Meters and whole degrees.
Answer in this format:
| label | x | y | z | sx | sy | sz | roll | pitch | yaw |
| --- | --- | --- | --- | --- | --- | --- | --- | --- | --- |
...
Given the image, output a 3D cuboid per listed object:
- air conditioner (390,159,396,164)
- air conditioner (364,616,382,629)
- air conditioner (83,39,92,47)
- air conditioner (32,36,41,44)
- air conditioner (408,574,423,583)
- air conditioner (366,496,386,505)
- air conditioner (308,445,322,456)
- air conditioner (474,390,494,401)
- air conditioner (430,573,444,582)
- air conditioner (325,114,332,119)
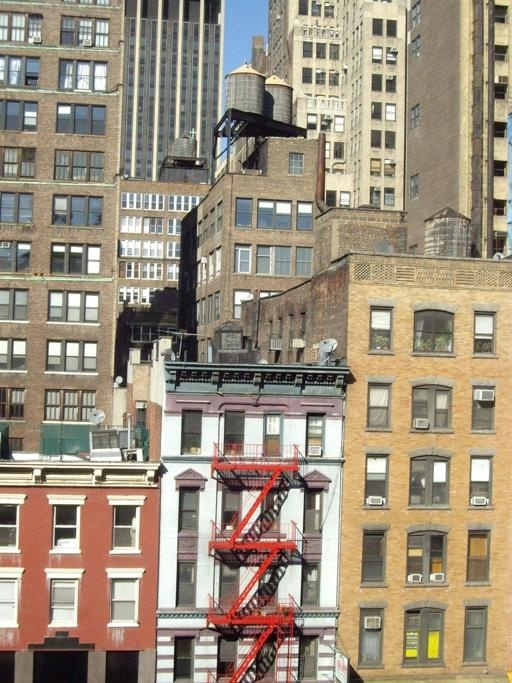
| label | x | y | z | sx | sy | sz | roll | pitch | yaw |
| --- | --- | --- | --- | --- | --- | --- | --- | --- | --- |
| air conditioner | 11.939 | -15.796 | 193.238 | 0.427 | 0.454 | 0.747 | -1 | -5 | 25 |
| air conditioner | 6.092 | 14.761 | 115.710 | 0.910 | 0.807 | 0.550 | 1 | 1 | -3 |
| air conditioner | -10.956 | -19.084 | 140.550 | 0.627 | 0.723 | 0.376 | 0 | -6 | 0 |
| air conditioner | -14.143 | -19.171 | 139.803 | 0.633 | 0.658 | 0.379 | 1 | 8 | -4 |
| air conditioner | 8.347 | 12.504 | 115.772 | 0.792 | 0.496 | 0.211 | 1 | -4 | -6 |
| air conditioner | 6.292 | 8.440 | 115.712 | 1.028 | 0.527 | 0.382 | 1 | -4 | 2 |
| air conditioner | 3.048 | 5.580 | 115.667 | 0.699 | 0.552 | 0.415 | 1 | 1 | -4 |
| air conditioner | 12.091 | 2.851 | 116.467 | 1.146 | 0.636 | 0.407 | 1 | -4 | 3 |
| air conditioner | 9.568 | 12.467 | 115.962 | 0.432 | 0.401 | 0.472 | 1 | -6 | -4 |
| air conditioner | 6.471 | -20.503 | 200.014 | 0.523 | 0.329 | 0.556 | 0 | 0 | 5 |
